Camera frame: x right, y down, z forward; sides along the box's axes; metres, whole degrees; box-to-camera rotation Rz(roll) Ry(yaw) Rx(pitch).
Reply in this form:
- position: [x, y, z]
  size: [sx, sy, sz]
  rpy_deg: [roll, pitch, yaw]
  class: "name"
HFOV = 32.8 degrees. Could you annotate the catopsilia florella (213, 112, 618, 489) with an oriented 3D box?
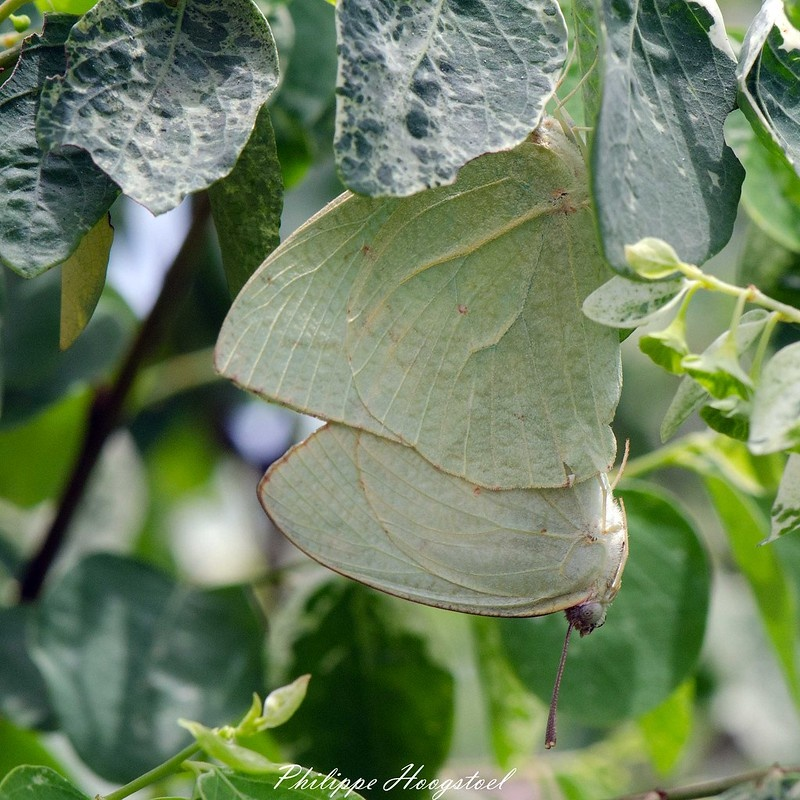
- position: [0.061, -0.127, 1.306]
  size: [0.400, 0.397, 0.217]
  rpy_deg: [5, 96, -11]
  class: "catopsilia florella"
